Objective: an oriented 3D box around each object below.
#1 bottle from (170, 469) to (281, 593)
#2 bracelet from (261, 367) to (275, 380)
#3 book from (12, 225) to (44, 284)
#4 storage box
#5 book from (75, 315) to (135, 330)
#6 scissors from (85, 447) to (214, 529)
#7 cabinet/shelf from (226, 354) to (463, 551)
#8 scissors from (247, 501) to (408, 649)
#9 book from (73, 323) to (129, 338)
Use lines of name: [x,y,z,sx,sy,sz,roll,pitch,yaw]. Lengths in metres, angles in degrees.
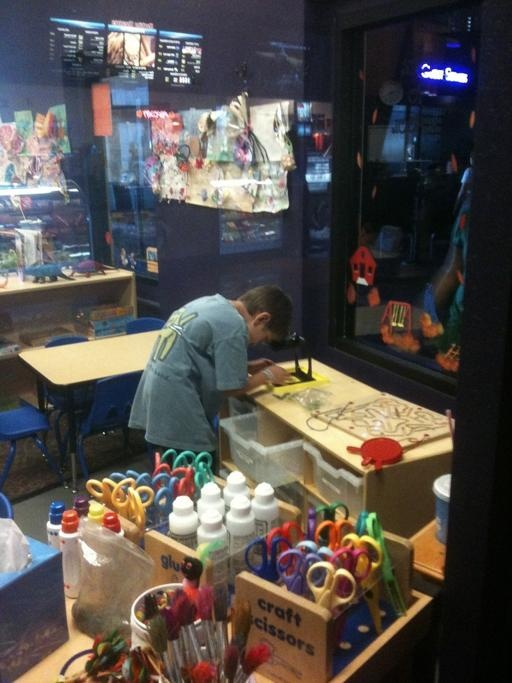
bottle: [-0.083,0.414,1.266,0.223,0.298,0.241,0,7,0]
bracelet: [0.058,0.148,2.505,0.046,0.050,0.040,-11,20,-18]
book: [-1.644,-0.648,3.868,0.207,0.384,0.060,-11,20,-26]
storage box: [0.135,0.482,2.171,0.303,0.170,0.473,-13,28,-33]
book: [-1.209,-0.186,4.222,0.275,0.106,0.204,-13,22,-40]
scissors: [-0.242,0.388,1.467,0.226,0.130,0.323,7,10,41]
cabinet/shelf: [0.439,0.400,2.066,0.426,0.478,0.883,-6,19,-26]
scissors: [0.143,0.441,1.186,0.251,0.325,0.306,-6,12,-34]
book: [-1.224,-0.083,4.238,0.203,0.064,0.198,8,15,35]
